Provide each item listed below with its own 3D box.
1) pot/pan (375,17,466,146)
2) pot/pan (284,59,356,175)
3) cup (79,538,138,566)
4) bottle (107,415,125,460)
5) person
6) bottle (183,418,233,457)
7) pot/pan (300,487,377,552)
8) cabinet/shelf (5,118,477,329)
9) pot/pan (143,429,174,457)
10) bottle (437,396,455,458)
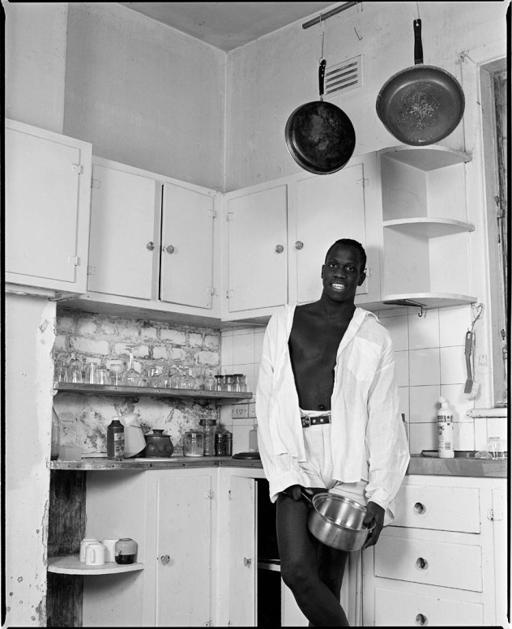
[{"bbox_3d":[0.566,-0.791,2.195,0.261,0.513,0.055,0,-6,13],"label":"pot/pan"},{"bbox_3d":[0.250,-0.686,2.485,0.268,0.259,0.113,2,-7,-18],"label":"pot/pan"},{"bbox_3d":[-0.621,0.981,2.658,0.103,0.098,0.219,-6,-14,35],"label":"cup"},{"bbox_3d":[-0.654,0.590,2.980,0.077,0.175,0.117,1,-7,-16],"label":"bottle"},{"bbox_3d":[0.240,0.362,2.142,0.522,1.277,0.338,-2,-6,13],"label":"person"},{"bbox_3d":[-0.286,0.713,3.651,0.200,0.210,0.412,-5,-9,29],"label":"bottle"},{"bbox_3d":[0.261,0.617,1.940,0.124,0.089,0.209,4,0,-41],"label":"pot/pan"},{"bbox_3d":[0.031,-0.384,3.091,1.065,0.488,1.090,4,-9,-31],"label":"cabinet/shelf"},{"bbox_3d":[-0.489,0.660,3.256,0.119,0.135,0.132,1,-14,-5],"label":"pot/pan"},{"bbox_3d":[0.789,0.471,2.653,0.071,0.238,0.309,-2,-8,16],"label":"bottle"}]
